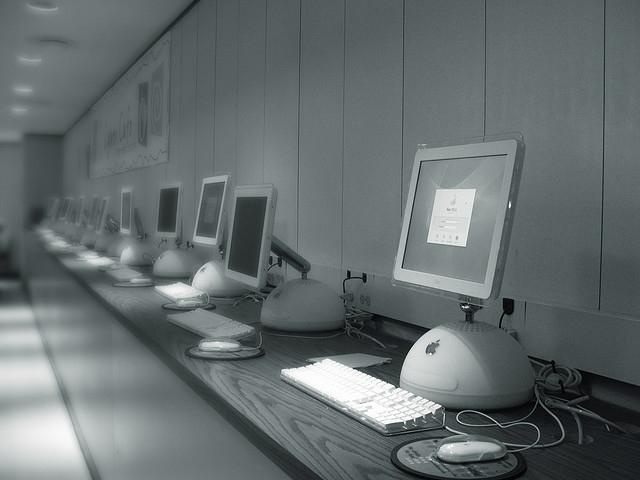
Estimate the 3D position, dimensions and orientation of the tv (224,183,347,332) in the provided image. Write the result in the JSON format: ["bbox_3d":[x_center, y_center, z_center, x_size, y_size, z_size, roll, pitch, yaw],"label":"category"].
[{"bbox_3d":[-0.124,0.081,2.050,0.564,0.640,0.443,-1,4,-31],"label":"tv"}]

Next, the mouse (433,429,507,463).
[{"bbox_3d":[0.283,0.380,0.813,0.079,0.025,0.059,0,-1,-6],"label":"mouse"}]

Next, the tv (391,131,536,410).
[{"bbox_3d":[0.401,0.093,1.200,0.353,0.684,0.412,-1,4,-22],"label":"tv"}]
